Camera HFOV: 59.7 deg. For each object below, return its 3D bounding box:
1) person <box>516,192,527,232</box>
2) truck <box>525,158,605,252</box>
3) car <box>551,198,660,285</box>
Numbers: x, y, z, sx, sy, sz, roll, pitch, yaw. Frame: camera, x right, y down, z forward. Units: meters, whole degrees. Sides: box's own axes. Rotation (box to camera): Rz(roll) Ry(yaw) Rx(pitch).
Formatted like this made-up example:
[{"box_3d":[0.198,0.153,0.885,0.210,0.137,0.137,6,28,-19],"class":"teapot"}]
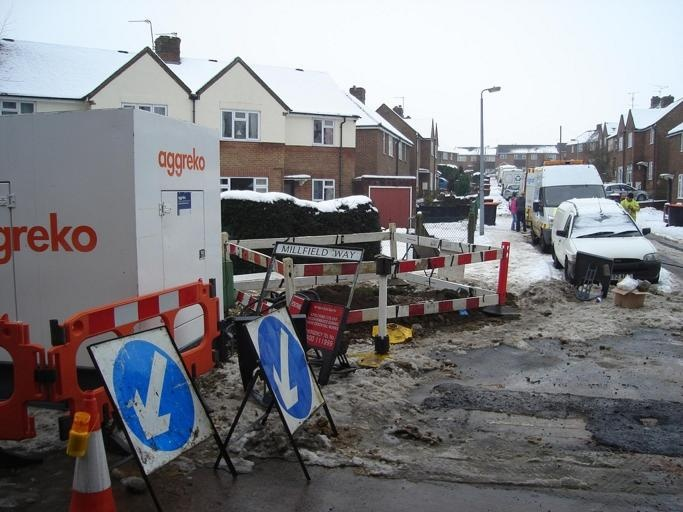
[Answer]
[{"box_3d":[8.483,-1.945,28.120,0.508,1.782,1.522,3,11,16],"class":"person"},{"box_3d":[8.301,-2.023,21.506,2.252,2.849,4.876,0,3,16],"class":"truck"},{"box_3d":[6.280,-0.408,14.477,1.771,1.666,3.021,-1,4,5],"class":"car"}]
